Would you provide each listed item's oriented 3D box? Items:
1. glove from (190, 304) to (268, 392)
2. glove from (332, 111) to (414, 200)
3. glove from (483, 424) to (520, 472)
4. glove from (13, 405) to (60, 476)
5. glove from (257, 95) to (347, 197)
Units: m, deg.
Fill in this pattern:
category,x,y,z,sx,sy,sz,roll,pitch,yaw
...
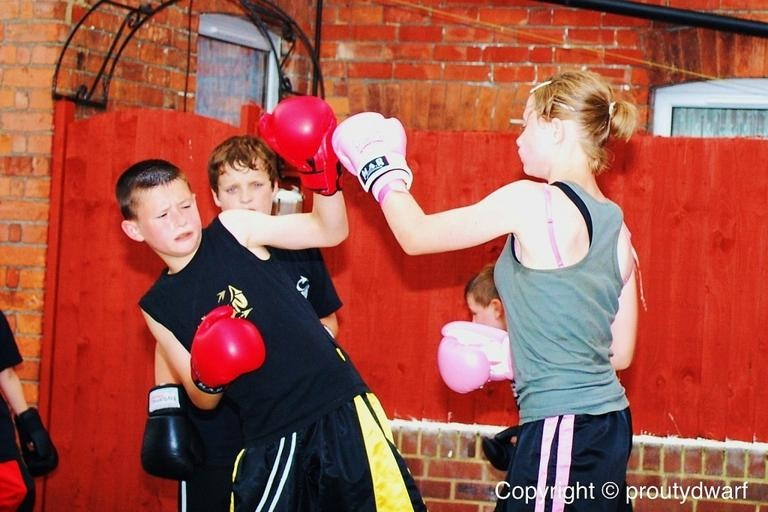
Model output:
category,x,y,z,sx,sy,sz,roll,pitch,yaw
glove,-0.720,0.399,4.244,0.286,0.387,0.176,20,2,8
glove,-0.051,-0.506,4.276,0.331,0.431,0.159,-29,-20,-17
glove,0.628,1.011,4.845,0.115,0.276,0.261,20,-18,-41
glove,-1.926,1.030,5.018,0.136,0.354,0.272,-16,8,28
glove,-0.387,-0.546,4.432,0.386,0.471,0.219,-5,-6,3
